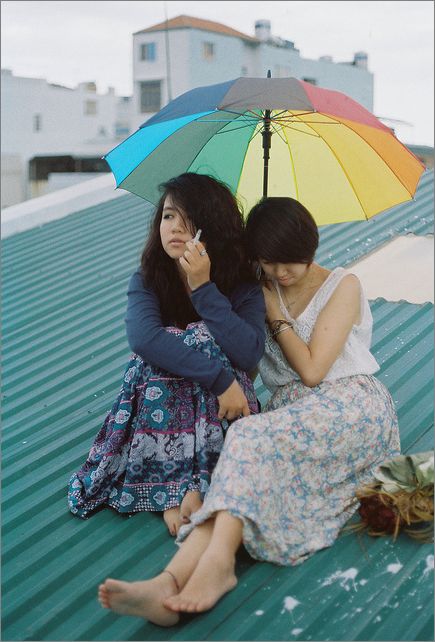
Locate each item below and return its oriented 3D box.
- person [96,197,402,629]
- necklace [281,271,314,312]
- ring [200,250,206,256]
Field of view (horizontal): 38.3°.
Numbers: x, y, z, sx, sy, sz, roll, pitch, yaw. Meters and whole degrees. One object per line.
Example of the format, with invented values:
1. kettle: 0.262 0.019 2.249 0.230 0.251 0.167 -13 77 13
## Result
1. person: 0.121 0.189 1.904 0.560 1.075 1.182 6 22 30
2. necklace: 0.293 -0.108 2.241 0.099 0.132 0.034 28 9 39
3. ring: -0.048 -0.225 2.051 0.019 0.012 0.018 -2 3 0
